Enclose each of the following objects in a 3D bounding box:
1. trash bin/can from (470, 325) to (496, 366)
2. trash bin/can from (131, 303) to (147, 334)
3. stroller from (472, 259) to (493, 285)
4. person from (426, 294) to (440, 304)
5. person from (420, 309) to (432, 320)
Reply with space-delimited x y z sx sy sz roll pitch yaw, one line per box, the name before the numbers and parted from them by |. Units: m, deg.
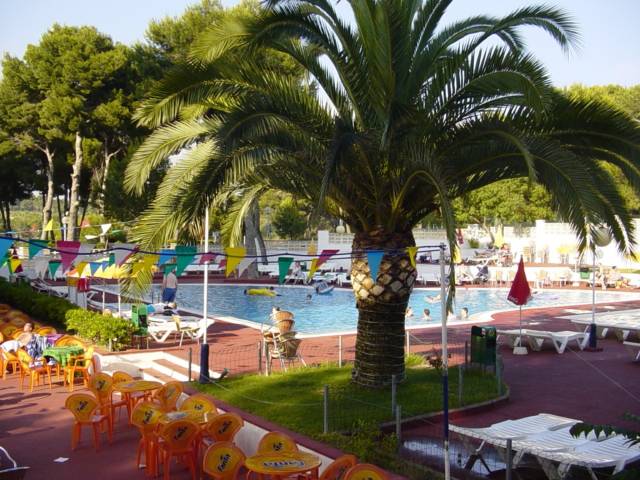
trash bin/can | 4.027 2.666 12.516 0.647 1.030 0.705 0 -5 8
trash bin/can | -5.385 2.378 15.159 0.445 0.819 0.898 -1 2 -23
stroller | 12.035 2.465 37.756 1.056 1.448 2.362 0 2 17
person | 6.094 3.205 27.397 0.573 0.374 0.857 0 -1 -4
person | 4.522 3.134 21.391 0.229 0.495 0.783 0 2 6
